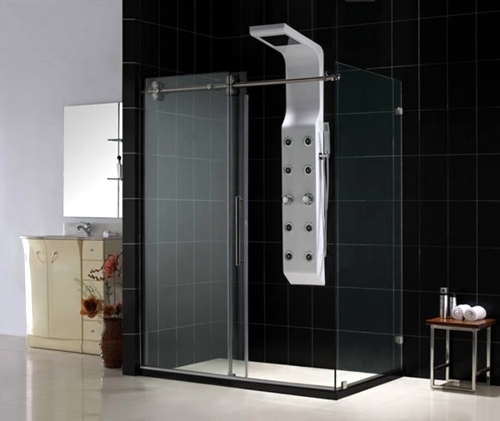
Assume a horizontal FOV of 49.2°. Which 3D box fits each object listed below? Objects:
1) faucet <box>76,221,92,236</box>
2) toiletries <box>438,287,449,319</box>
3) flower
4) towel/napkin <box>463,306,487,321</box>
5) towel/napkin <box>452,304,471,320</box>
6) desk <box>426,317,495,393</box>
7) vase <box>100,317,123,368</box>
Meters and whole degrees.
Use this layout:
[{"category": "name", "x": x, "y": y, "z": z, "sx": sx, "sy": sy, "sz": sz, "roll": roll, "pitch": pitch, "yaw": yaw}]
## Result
[{"category": "faucet", "x": -1.766, "y": 0.200, "z": 5.801, "sx": 0.197, "sy": 0.152, "sz": 0.076, "roll": -3, "pitch": -6, "yaw": 21}, {"category": "toiletries", "x": 1.498, "y": 0.716, "z": 4.216, "sx": 0.067, "sy": 0.231, "sz": 0.151, "roll": -3, "pitch": -5, "yaw": 23}, {"category": "flower", "x": -1.409, "y": 0.726, "z": 5.112, "sx": 0.413, "sy": 0.632, "sz": 0.753, "roll": 1, "pitch": -5, "yaw": -18}, {"category": "towel/napkin", "x": 1.667, "y": 0.758, "z": 4.062, "sx": 0.128, "sy": 0.107, "sz": 0.097, "roll": 2, "pitch": -28, "yaw": -42}, {"category": "towel/napkin", "x": 1.565, "y": 0.760, "z": 4.073, "sx": 0.103, "sy": 0.118, "sz": 0.161, "roll": 18, "pitch": 6, "yaw": 25}, {"category": "desk", "x": 1.582, "y": 1.069, "z": 4.196, "sx": 0.492, "sy": 0.763, "sz": 0.516, "roll": -4, "pitch": -7, "yaw": 39}, {"category": "vase", "x": -1.243, "y": 1.221, "z": 4.880, "sx": 0.252, "sy": 0.482, "sz": 0.252, "roll": 0, "pitch": -15, "yaw": -21}]
